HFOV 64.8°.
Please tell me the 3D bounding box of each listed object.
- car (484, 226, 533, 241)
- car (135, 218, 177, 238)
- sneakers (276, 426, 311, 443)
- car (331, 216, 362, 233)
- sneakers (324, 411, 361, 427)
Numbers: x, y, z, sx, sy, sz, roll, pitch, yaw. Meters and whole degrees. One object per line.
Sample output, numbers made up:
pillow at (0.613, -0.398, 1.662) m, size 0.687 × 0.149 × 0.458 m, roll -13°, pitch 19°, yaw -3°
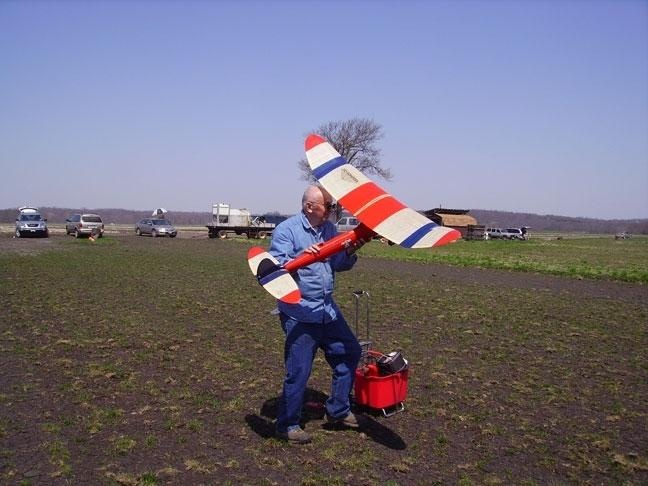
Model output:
car at (18.185, -0.789, 51.181) m, size 4.129 × 1.078 × 3.941 m, roll 4°, pitch 11°, yaw 18°
car at (-12.836, -1.037, 39.158) m, size 1.658 × 1.021 × 3.317 m, roll 0°, pitch -2°, yaw -43°
sneakers at (-0.342, 2.178, 5.740) m, size 0.373 × 0.156 × 0.163 m, roll 0°, pitch 4°, yaw 4°
car at (1.542, -1.576, 35.279) m, size 1.519 × 1.120 × 2.310 m, roll -4°, pitch 11°, yaw -22°
sneakers at (0.210, 2.109, 6.084) m, size 0.378 × 0.164 × 0.179 m, roll -4°, pitch 11°, yaw 1°
